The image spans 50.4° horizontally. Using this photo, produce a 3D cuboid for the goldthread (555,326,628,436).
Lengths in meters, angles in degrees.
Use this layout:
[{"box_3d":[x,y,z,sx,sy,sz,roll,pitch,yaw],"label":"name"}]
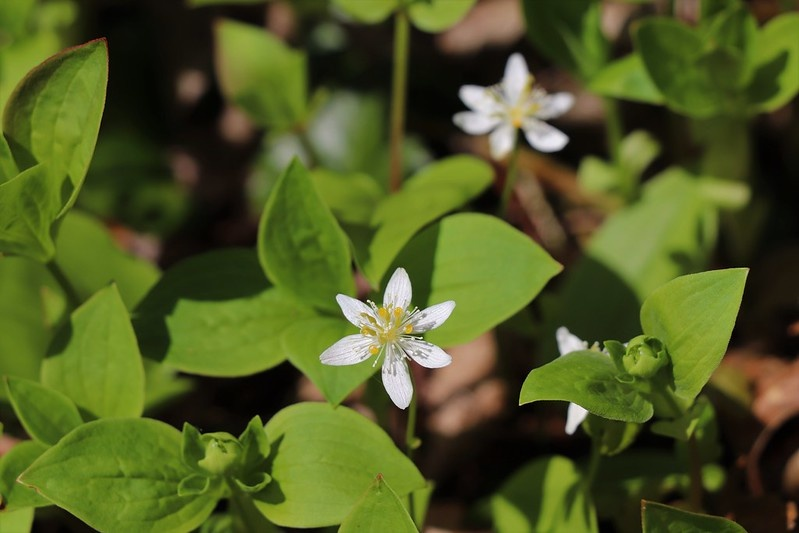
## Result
[{"box_3d":[0.533,0.329,2.527,0.066,0.335,0.189,9,2,-41],"label":"goldthread"}]
